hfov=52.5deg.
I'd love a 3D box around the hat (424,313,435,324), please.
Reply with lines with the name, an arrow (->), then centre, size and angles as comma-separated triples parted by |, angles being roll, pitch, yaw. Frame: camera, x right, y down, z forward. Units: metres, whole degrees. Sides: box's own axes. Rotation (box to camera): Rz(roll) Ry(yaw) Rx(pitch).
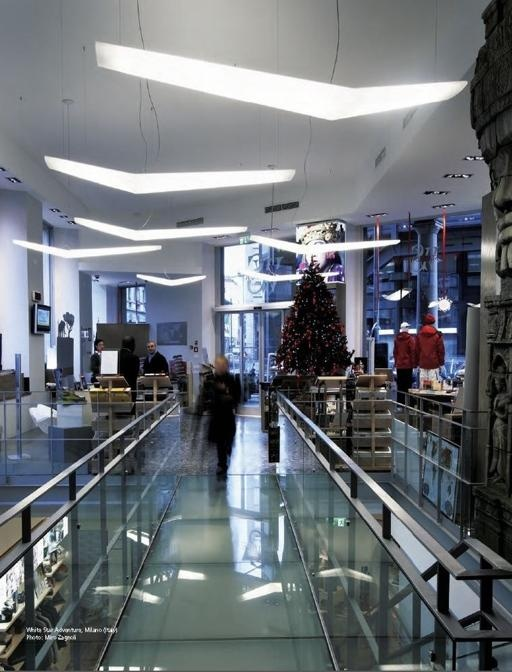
hat -> 2.978, -0.322, 8.911 | 0.118, 0.192, 0.192 | -3, 28, 0

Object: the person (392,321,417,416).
person -> 2.665, 0.408, 9.332 | 0.338, 1.266, 0.645 | 0, -1, 15

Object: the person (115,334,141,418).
person -> -1.798, 0.528, 7.345 | 0.264, 1.040, 0.987 | 0, -1, -15

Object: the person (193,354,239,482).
person -> -0.426, 1.008, 6.373 | 0.414, 1.528, 1.167 | 0, -1, -4

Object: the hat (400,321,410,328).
hat -> 2.851, -0.233, 9.901 | 0.118, 0.077, 0.095 | -20, 12, -18

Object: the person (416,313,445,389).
person -> 2.771, 0.237, 8.292 | 0.412, 1.162, 0.982 | 0, -1, 18

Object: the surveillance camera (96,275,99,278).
surveillance camera -> -4.746, -1.817, 15.526 | 0.093, 0.113, 0.026 | 6, 17, 20

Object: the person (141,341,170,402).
person -> -1.796, 0.617, 9.140 | 0.508, 1.436, 0.396 | -5, -13, 5
